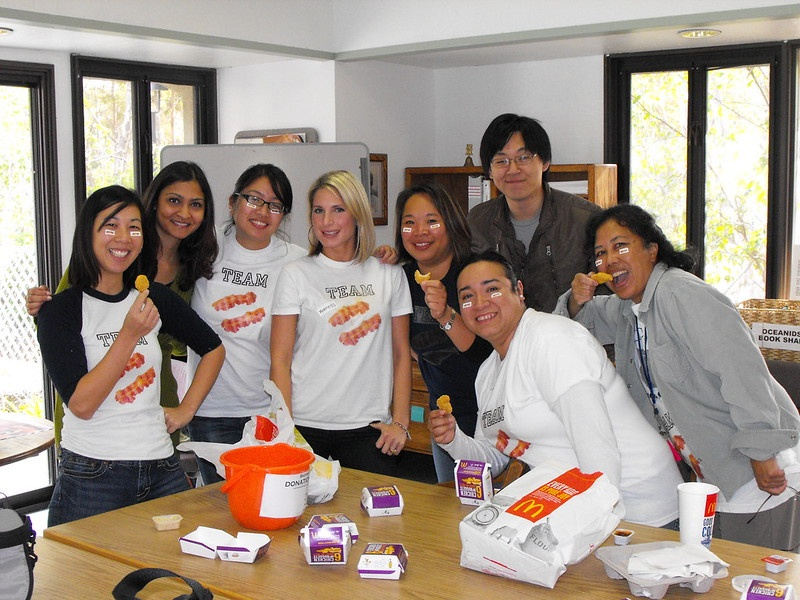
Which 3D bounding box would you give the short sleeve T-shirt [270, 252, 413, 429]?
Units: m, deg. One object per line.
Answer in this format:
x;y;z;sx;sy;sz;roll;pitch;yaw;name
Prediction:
-0.243;0.176;2.662;0.660;0.756;0.281;-4;17;-6;short sleeve T-shirt

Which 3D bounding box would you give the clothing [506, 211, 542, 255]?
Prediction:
0.664;-0.360;3.209;0.136;0.181;0.065;-5;-14;24;clothing

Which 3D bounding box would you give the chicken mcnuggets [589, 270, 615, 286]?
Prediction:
0.794;-0.089;2.379;0.069;0.033;0.084;3;-6;2;chicken mcnuggets

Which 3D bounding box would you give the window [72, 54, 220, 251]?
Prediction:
-2.283;-1.399;5.401;0.132;1.317;1.320;18;22;18;window

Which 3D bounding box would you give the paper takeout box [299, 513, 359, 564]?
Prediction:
-0.202;0.633;1.653;0.172;0.075;0.209;-2;4;-9;paper takeout box

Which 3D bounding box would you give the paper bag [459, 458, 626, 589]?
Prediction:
0.364;0.572;1.558;0.377;0.204;0.262;-5;4;-40;paper bag

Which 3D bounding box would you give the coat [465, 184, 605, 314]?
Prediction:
0.645;-0.229;2.851;0.579;0.579;0.307;7;24;30;coat

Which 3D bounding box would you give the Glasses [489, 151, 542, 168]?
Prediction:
0.573;-0.707;3.079;0.223;0.071;0.053;-2;3;13;Glasses

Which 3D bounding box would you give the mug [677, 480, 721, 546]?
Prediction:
0.762;0.566;1.569;0.101;0.148;0.101;4;-4;31;mug

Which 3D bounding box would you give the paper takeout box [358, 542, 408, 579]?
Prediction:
-0.044;0.658;1.532;0.119;0.058;0.094;-2;3;5;paper takeout box

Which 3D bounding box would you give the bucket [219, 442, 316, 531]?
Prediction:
-0.414;0.567;1.835;0.282;0.200;0.280;4;0;0;bucket

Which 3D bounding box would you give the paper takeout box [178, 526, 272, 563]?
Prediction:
-0.472;0.625;1.616;0.183;0.043;0.100;1;2;24;paper takeout box

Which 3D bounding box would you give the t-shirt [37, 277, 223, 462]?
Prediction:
-0.887;0.218;2.190;0.690;0.627;0.349;-2;16;7;t-shirt

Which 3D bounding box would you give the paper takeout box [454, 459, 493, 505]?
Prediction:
0.232;0.568;1.902;0.115;0.133;0.073;0;11;29;paper takeout box

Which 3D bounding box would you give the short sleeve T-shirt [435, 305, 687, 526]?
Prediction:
0.576;0.517;2.197;0.563;0.899;0.683;-5;-12;-38;short sleeve T-shirt
